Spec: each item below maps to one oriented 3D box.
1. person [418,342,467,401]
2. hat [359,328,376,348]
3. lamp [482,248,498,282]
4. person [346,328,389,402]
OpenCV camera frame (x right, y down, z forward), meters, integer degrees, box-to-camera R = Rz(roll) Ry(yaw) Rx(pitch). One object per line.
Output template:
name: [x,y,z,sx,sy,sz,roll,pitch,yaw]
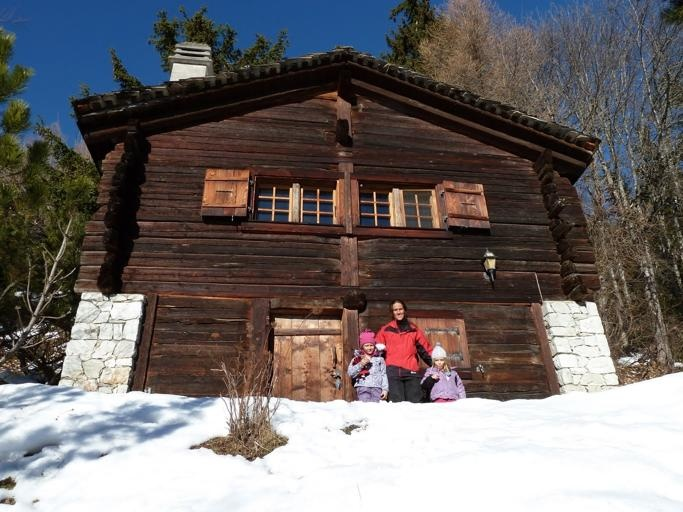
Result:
person: [1.552,1.922,6.972,0.601,0.686,0.879,-5,2,0]
hat: [0.446,1.351,7.440,0.275,0.242,0.317,7,-16,-28]
lamp: [2.816,0.225,8.600,0.324,0.534,0.228,-4,-1,1]
person: [0.410,1.835,7.065,0.586,0.909,0.917,-6,2,3]
